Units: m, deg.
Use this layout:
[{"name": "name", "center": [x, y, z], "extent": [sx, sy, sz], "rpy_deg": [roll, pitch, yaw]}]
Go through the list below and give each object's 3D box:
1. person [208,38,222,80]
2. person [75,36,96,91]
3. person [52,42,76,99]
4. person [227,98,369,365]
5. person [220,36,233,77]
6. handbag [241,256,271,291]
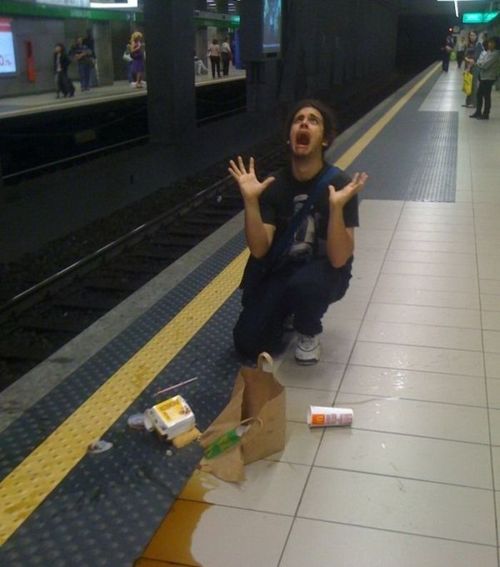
[{"name": "person", "center": [-1.524, -9.778, 19.646], "extent": [0.517, 1.631, 1.197], "rpy_deg": [-4, 23, -2]}, {"name": "person", "center": [-4.846, -6.412, 13.222], "extent": [0.477, 1.438, 0.970], "rpy_deg": [-5, 23, -5]}, {"name": "person", "center": [-5.246, -5.846, 12.463], "extent": [0.508, 1.321, 0.615], "rpy_deg": [-10, 24, -17]}, {"name": "person", "center": [0.245, -0.256, 2.475], "extent": [0.752, 1.361, 0.663], "rpy_deg": [-4, 23, -4]}, {"name": "person", "center": [-1.114, -10.097, 20.237], "extent": [0.433, 1.551, 0.979], "rpy_deg": [-3, 23, 1]}, {"name": "handbag", "center": [0.036, -0.073, 2.508], "extent": [0.131, 0.189, 0.098], "rpy_deg": [15, -6, 13]}]
